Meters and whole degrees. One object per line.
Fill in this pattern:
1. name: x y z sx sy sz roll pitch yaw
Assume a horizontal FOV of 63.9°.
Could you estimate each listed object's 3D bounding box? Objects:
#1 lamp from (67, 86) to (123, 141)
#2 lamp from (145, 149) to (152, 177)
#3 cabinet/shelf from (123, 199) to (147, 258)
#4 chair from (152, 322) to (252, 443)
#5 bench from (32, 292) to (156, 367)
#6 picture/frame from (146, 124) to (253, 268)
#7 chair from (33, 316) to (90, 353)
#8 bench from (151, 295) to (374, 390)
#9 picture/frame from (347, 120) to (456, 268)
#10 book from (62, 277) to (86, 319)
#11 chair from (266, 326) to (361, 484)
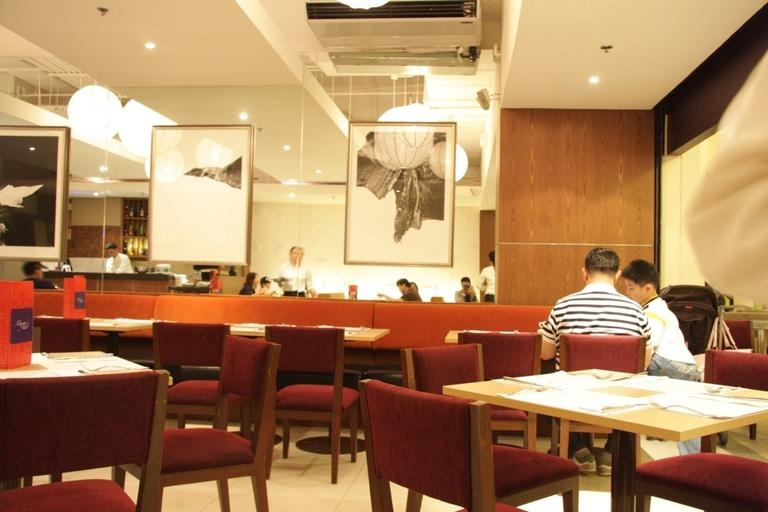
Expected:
1. lamp: -3.017 -1.541 6.534 0.254 0.545 0.521 1 -4 35
2. lamp: -2.480 -0.963 6.526 0.041 0.187 0.181 1 -1 -17
3. cabinet/shelf: -2.632 -0.314 6.546 0.455 0.629 0.153 0 -4 41
4. chair: -1.392 1.017 4.764 0.579 1.050 0.619 2 -2 8
5. bench: -2.737 0.657 6.347 0.332 0.476 1.036 17 0 20
6. picture/frame: -1.860 -0.585 6.404 1.417 1.807 0.122 0 0 6
7. chair: -2.288 0.568 4.393 0.263 0.270 0.146 3 2 -6
8. bench: -1.259 0.984 5.998 1.759 0.615 0.525 2 -7 4
9. picture/frame: 0.225 -0.576 6.195 1.408 1.840 0.115 1 -4 4
10. book: -2.610 0.342 5.231 0.166 0.340 0.127 5 -4 -35
11. chair: -0.619 1.141 4.820 0.670 1.118 0.718 0 -12 6
